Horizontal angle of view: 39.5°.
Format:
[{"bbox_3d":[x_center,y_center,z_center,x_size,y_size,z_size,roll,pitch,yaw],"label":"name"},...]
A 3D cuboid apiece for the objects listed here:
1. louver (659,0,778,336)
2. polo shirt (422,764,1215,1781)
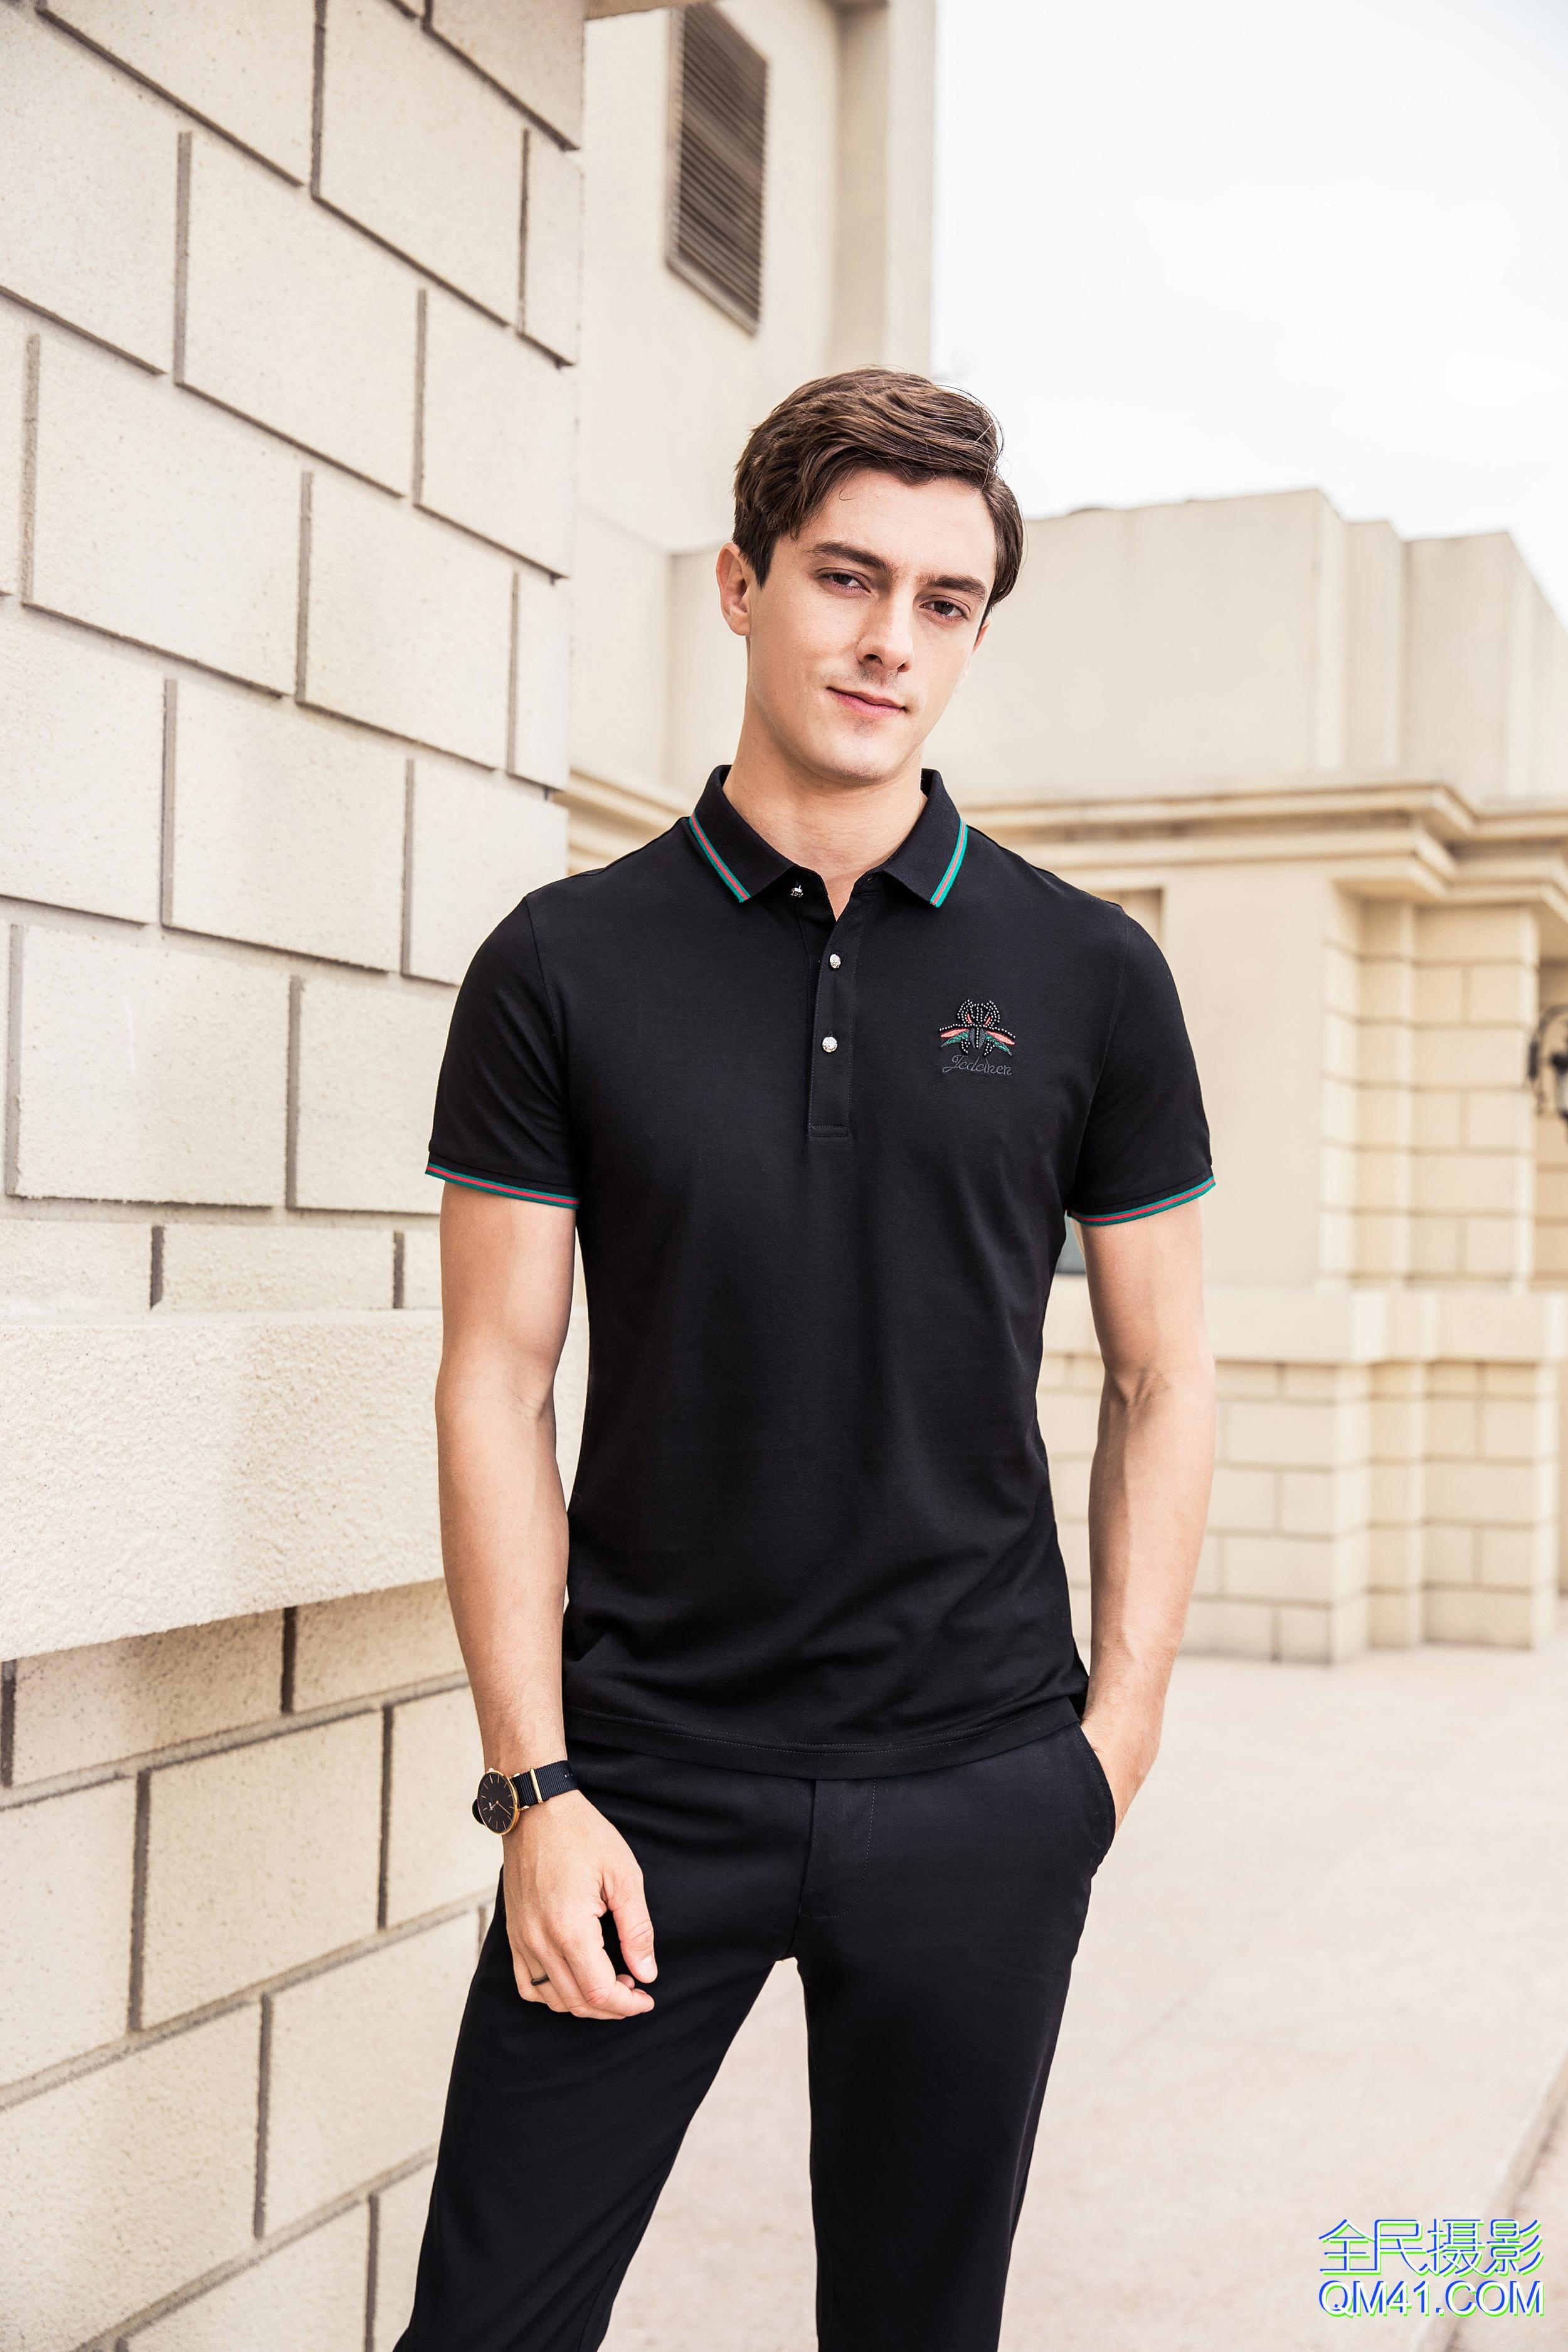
[{"bbox_3d":[-0.362,-5.306,11.730,0.101,1.279,1.357,5,15,19],"label":"louver"},{"bbox_3d":[0.016,0.080,1.870,0.752,0.831,0.316,1,5,-11],"label":"polo shirt"}]
